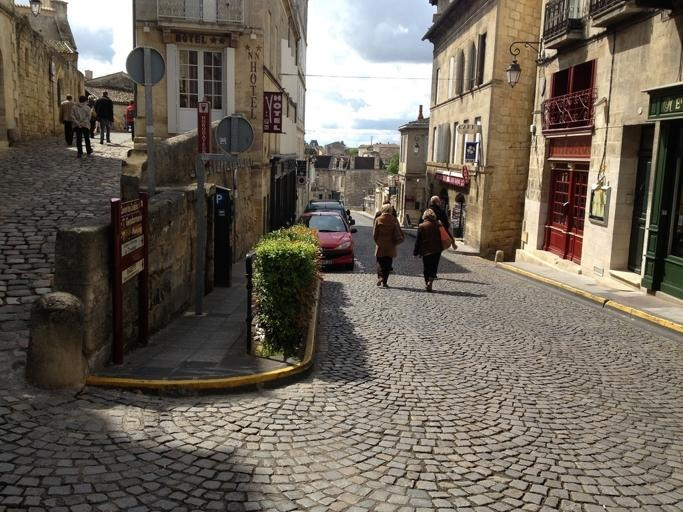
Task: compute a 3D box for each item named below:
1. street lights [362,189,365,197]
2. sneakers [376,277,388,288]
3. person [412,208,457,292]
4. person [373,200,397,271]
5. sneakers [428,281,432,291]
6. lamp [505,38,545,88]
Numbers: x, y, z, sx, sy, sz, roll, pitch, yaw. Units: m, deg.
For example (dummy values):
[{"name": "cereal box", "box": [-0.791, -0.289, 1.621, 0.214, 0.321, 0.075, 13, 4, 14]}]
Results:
[{"name": "street lights", "box": [3.881, -10.552, 95.514, 0.900, 0.931, 0.974, -1, 0, 2]}, {"name": "sneakers", "box": [0.947, 0.621, 13.174, 0.137, 0.298, 0.283, 10, -17, -13]}, {"name": "person", "box": [2.072, -0.140, 13.119, 0.844, 1.787, 1.285, 4, 9, 13]}, {"name": "person", "box": [1.034, -0.422, 13.393, 0.551, 1.839, 0.502, 0, 34, -2]}, {"name": "sneakers", "box": [1.954, 0.668, 12.667, 0.037, 0.177, 0.117, 11, -11, -33]}, {"name": "lamp", "box": [5.964, -6.335, 18.781, 0.995, 1.616, 0.437, 6, -3, 2]}]
